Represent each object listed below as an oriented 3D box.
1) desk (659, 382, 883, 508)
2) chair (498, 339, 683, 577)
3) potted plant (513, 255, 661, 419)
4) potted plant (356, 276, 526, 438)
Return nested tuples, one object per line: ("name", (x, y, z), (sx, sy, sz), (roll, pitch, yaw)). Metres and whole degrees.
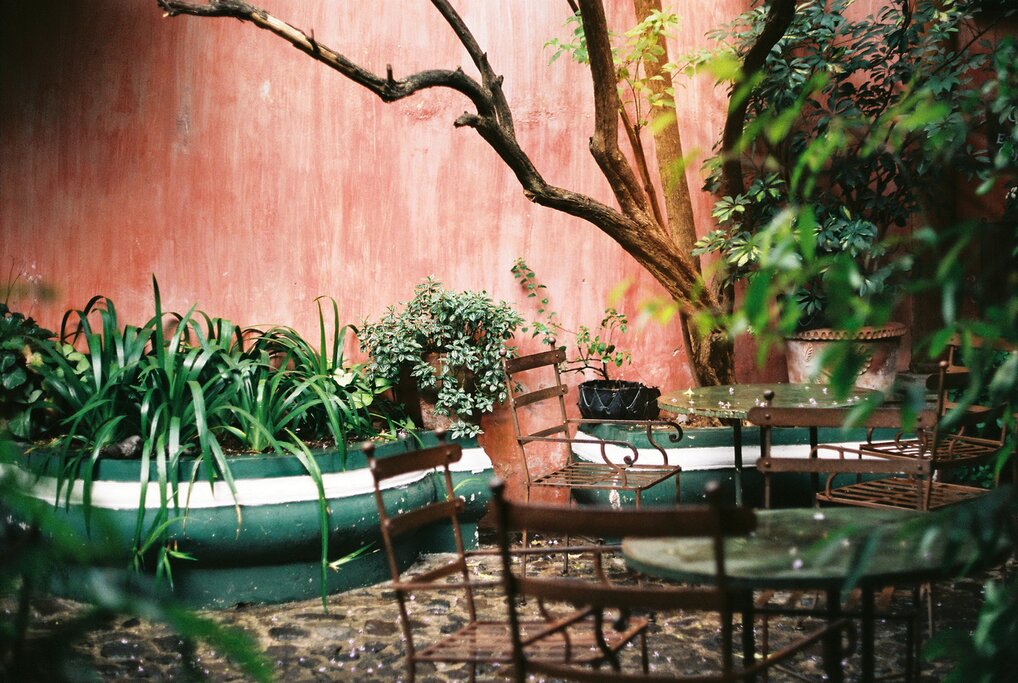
("desk", (1.569, 0.589, 5.613), (0.914, 0.592, 0.908), (1, 5, -29))
("chair", (0.420, 0.804, 5.940), (0.834, 1.334, 0.703), (4, -4, -4))
("potted plant", (0.707, 0.087, 6.737), (1.208, 1.186, 0.725), (0, 0, 17))
("potted plant", (-0.476, 0.128, 6.586), (1.050, 1.092, 0.927), (1, -5, -16))
